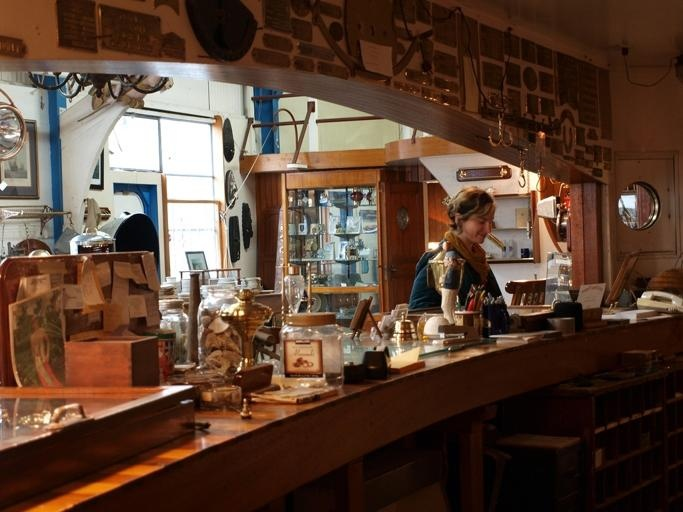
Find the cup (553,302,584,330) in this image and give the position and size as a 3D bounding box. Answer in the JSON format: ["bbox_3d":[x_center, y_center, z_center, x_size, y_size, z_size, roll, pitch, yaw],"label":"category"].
[{"bbox_3d":[1.352,0.343,3.648,0.158,0.163,0.163,1,1,0],"label":"cup"}]

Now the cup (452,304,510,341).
[{"bbox_3d":[0.762,0.354,3.329,0.257,0.276,0.177,0,-5,11],"label":"cup"}]

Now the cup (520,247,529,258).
[{"bbox_3d":[2.731,-0.061,9.181,0.114,0.130,0.118,1,-7,0],"label":"cup"}]

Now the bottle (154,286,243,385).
[{"bbox_3d":[-0.532,0.272,2.249,0.265,0.495,0.273,-1,-1,0],"label":"bottle"}]

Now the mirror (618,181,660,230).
[{"bbox_3d":[3.037,-0.531,6.314,0.424,0.514,0.064,-8,6,-34],"label":"mirror"}]

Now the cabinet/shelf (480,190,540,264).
[{"bbox_3d":[2.264,-0.395,8.053,0.953,0.983,0.314,-3,-4,31],"label":"cabinet/shelf"}]

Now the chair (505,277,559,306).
[{"bbox_3d":[2.238,0.418,7.319,0.509,0.540,0.366,-1,3,-39],"label":"chair"}]

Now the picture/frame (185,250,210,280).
[{"bbox_3d":[-2.055,0.116,8.666,0.036,0.487,0.392,-26,-17,22],"label":"picture/frame"}]

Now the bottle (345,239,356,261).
[{"bbox_3d":[0.144,-0.100,9.873,0.188,0.319,0.059,-2,2,3],"label":"bottle"}]

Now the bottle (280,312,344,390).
[{"bbox_3d":[-0.108,0.325,2.213,0.240,0.343,0.248,0,-1,0],"label":"bottle"}]

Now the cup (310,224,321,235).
[{"bbox_3d":[-0.431,-0.437,10.011,0.163,0.171,0.089,-1,0,6],"label":"cup"}]

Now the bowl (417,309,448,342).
[{"bbox_3d":[0.478,0.379,3.319,0.122,0.095,0.123,1,-5,0],"label":"bowl"}]

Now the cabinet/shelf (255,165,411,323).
[{"bbox_3d":[0.018,-0.255,8.866,2.480,3.167,0.895,0,0,12],"label":"cabinet/shelf"}]
